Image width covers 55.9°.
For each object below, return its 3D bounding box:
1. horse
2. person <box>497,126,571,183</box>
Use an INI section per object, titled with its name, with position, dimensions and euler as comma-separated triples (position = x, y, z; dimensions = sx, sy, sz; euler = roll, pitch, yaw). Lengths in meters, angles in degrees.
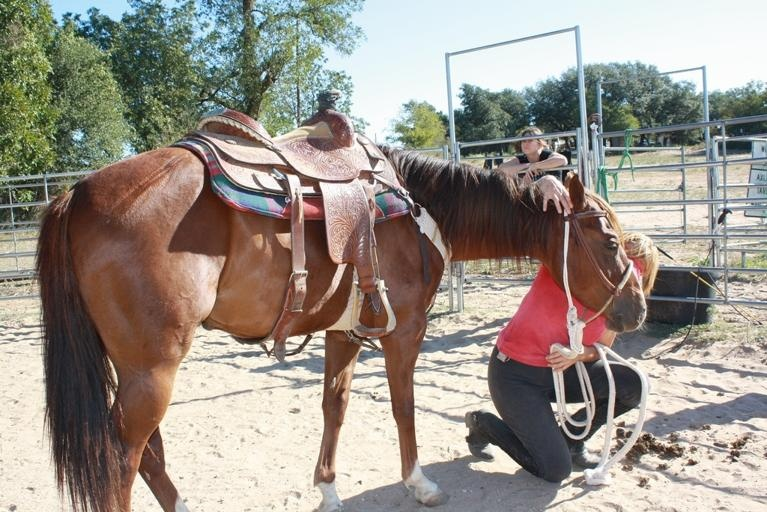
[horse]
position = -0.252, 0.558, 5.462
dimensions = 3.595, 2.240, 1.060
euler = 2, -6, -21
[person]
position = 1.394, -0.941, 6.890
dimensions = 0.590, 0.501, 0.813
euler = -3, -8, 21
